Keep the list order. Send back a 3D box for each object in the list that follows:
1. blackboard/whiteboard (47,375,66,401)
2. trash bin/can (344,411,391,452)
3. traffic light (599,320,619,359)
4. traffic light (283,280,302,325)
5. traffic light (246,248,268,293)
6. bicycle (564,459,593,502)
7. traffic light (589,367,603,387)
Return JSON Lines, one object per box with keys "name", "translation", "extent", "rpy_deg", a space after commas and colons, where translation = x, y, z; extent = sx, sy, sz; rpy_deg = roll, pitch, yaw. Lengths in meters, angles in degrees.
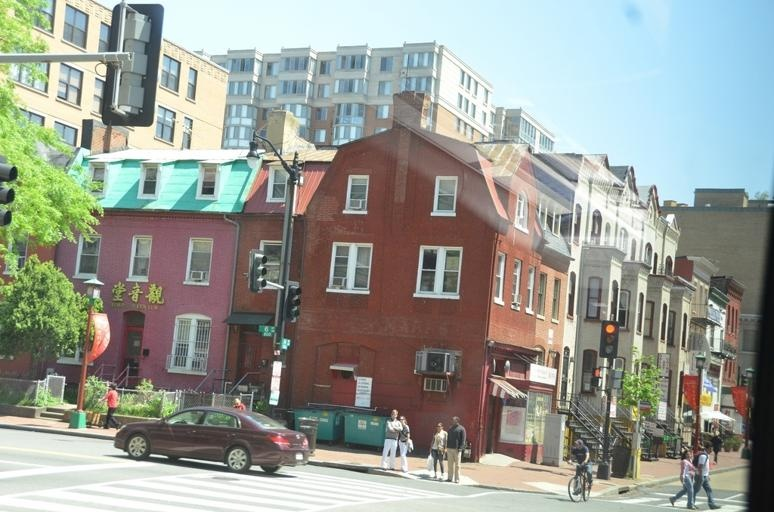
{"name": "blackboard/whiteboard", "translation": [-15.940, 6.362, 45.877], "extent": [1.378, 1.525, 0.107], "rpy_deg": [5, -15, -40]}
{"name": "trash bin/can", "translation": [-0.803, 8.011, 43.526], "extent": [1.750, 1.230, 1.744], "rpy_deg": [1, -7, 16]}
{"name": "traffic light", "translation": [8.570, 3.163, 36.642], "extent": [0.585, 1.355, 0.970], "rpy_deg": [3, -15, 8]}
{"name": "traffic light", "translation": [-3.708, 1.762, 37.569], "extent": [0.571, 1.529, 0.851], "rpy_deg": [7, -15, -7]}
{"name": "traffic light", "translation": [-4.813, 0.488, 35.813], "extent": [0.696, 1.592, 1.076], "rpy_deg": [7, -15, -8]}
{"name": "bicycle", "translation": [7.006, 8.236, 34.543], "extent": [0.760, 1.396, 1.437], "rpy_deg": [2, -14, 10]}
{"name": "traffic light", "translation": [8.603, 4.923, 38.954], "extent": [0.378, 0.863, 1.242], "rpy_deg": [1, -14, 14]}
